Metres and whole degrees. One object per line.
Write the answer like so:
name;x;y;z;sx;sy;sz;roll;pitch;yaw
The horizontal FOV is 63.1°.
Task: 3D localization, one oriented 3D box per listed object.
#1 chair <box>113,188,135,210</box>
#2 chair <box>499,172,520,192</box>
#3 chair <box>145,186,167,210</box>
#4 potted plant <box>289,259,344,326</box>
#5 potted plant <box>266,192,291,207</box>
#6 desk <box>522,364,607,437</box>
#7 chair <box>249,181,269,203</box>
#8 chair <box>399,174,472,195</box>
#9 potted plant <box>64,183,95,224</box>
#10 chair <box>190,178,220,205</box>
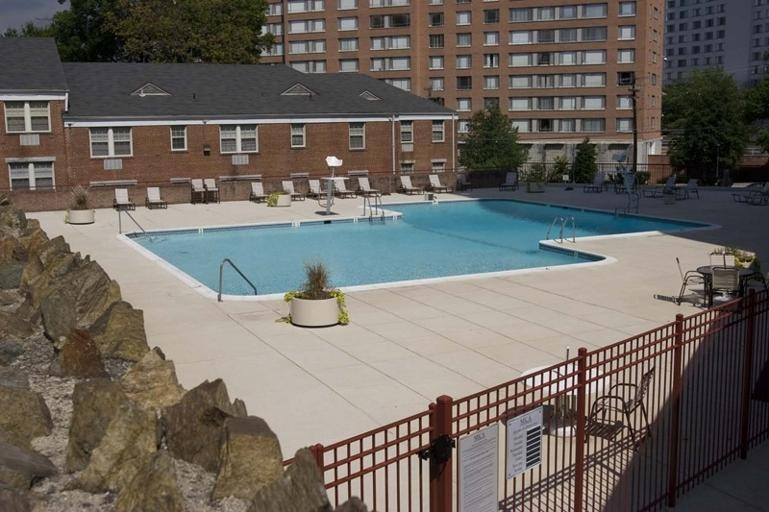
chair;-14.825;-3.216;35.485;1.004;1.178;1.335;-8;12;-28
chair;9.143;-5.431;45.700;1.242;1.443;1.641;4;12;27
chair;-13.386;-3.418;36.556;1.065;1.183;1.151;-6;11;-21
potted plant;-1.628;0.947;15.599;1.480;1.684;1.470;1;10;3
potted plant;-6.319;-3.294;36.887;0.939;0.585;0.927;-5;9;-42
desk;3.027;2.297;9.780;1.425;0.858;1.447;-6;3;32
chair;-7.820;-3.996;39.100;0.989;1.201;1.558;-7;12;-27
chair;3.076;-5.047;43.748;4.141;1.278;1.635;-7;11;-28
potted plant;-14.684;-2.405;29.954;1.216;1.737;1.367;-8;12;-28
chair;-11.172;-3.959;38.907;1.544;1.451;0.673;-4;12;-30
